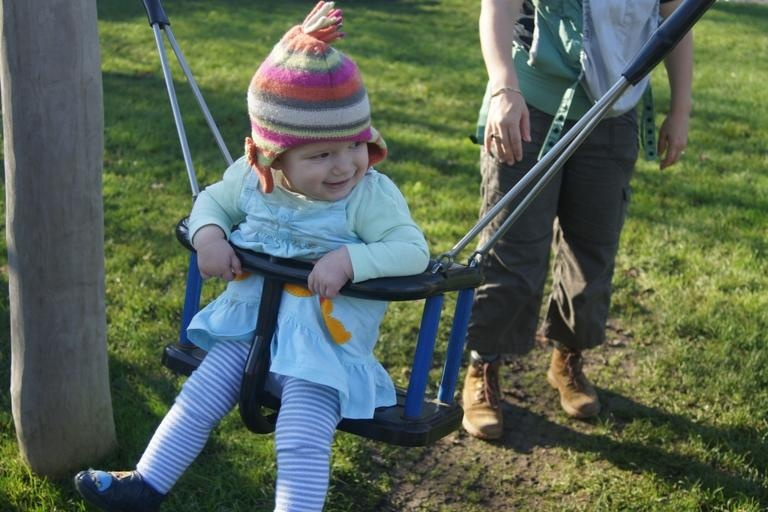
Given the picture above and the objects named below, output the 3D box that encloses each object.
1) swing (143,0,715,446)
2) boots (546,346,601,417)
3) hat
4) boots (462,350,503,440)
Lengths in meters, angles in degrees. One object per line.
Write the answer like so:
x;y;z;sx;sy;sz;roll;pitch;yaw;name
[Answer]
0.327;-0.108;7.218;2.353;2.186;0.739;22;15;8;swing
1.140;0.711;7.326;0.188;0.325;0.508;-7;27;-13;boots
-0.274;-0.956;6.485;0.824;1.111;0.715;-13;21;-40;hat
0.526;0.819;7.250;0.184;0.340;0.585;2;28;-4;boots
